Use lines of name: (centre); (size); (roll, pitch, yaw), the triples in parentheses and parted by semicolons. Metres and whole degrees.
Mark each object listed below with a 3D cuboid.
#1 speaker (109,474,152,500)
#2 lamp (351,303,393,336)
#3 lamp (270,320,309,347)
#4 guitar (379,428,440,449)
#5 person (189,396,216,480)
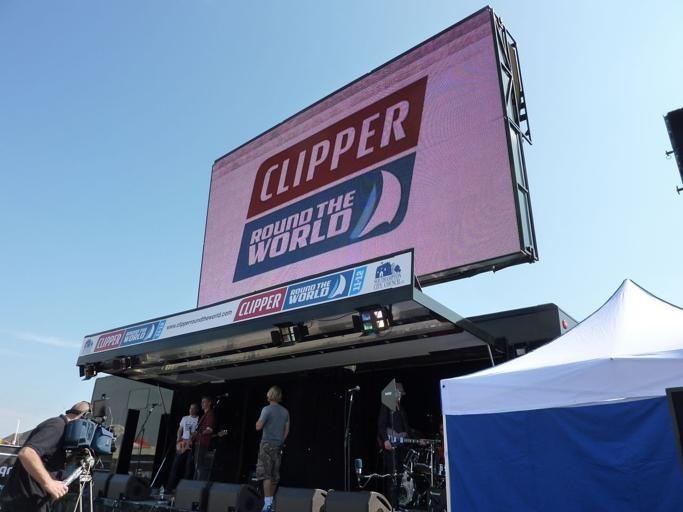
speaker: (-3.984, 4.293, 9.218); (0.660, 0.473, 0.515); (-23, -27, 27)
lamp: (0.644, 0.952, 8.128); (0.629, 0.494, 0.645); (-17, 12, -37)
lamp: (-0.944, 1.417, 8.870); (0.693, 0.312, 0.406); (-10, -28, 25)
guitar: (1.157, 3.200, 8.245); (0.844, 0.445, 0.122); (0, -67, 23)
person: (-2.860, 3.837, 10.376); (0.472, 1.681, 1.094); (8, -25, -12)
